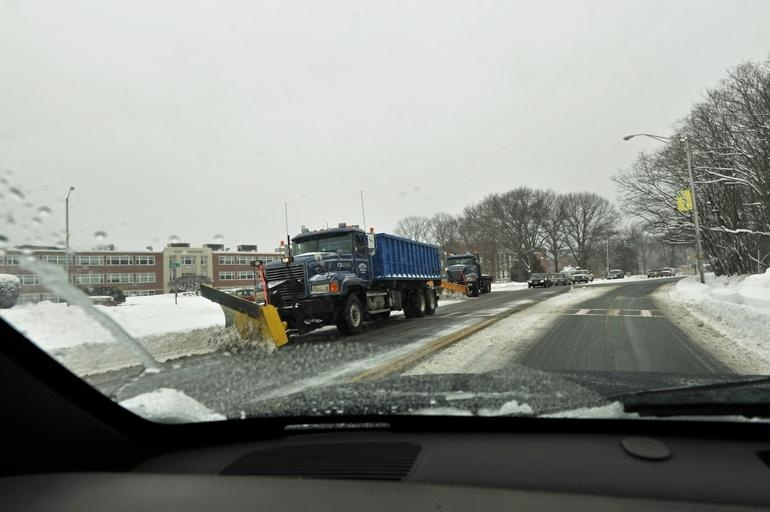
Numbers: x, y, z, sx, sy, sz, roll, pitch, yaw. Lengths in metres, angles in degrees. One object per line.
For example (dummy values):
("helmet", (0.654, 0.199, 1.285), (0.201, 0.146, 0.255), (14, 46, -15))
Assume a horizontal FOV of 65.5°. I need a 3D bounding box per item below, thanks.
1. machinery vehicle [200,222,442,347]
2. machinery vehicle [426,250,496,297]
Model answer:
("machinery vehicle", (-1.305, 0.789, 14.533), (1.930, 2.201, 6.407), (-8, -12, 24))
("machinery vehicle", (3.995, 0.945, 31.675), (1.531, 1.900, 5.015), (-4, -6, 17))
